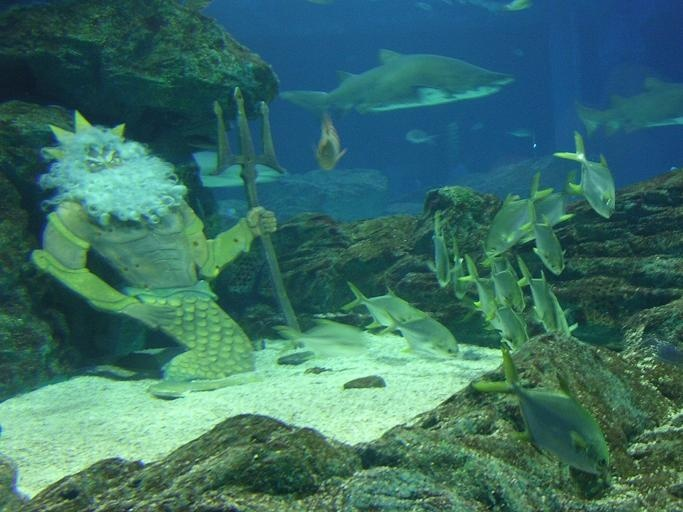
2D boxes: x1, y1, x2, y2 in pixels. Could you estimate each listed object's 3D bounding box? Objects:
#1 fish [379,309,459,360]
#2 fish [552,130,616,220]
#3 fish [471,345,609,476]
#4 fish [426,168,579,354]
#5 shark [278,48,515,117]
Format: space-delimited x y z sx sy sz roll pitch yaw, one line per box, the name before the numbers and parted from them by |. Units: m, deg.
fish | 0.832 0.857 7.317 0.921 0.466 0.178 17 16 25
fish | 2.618 -0.802 7.139 0.215 0.981 0.513 -17 -28 -25
fish | 1.818 1.453 6.264 1.389 0.865 0.671 5 14 -3
fish | 1.756 0.184 9.345 1.271 1.938 1.118 0 16 -4
shark | 1.129 -3.154 12.335 3.530 0.965 1.256 -9 10 1
